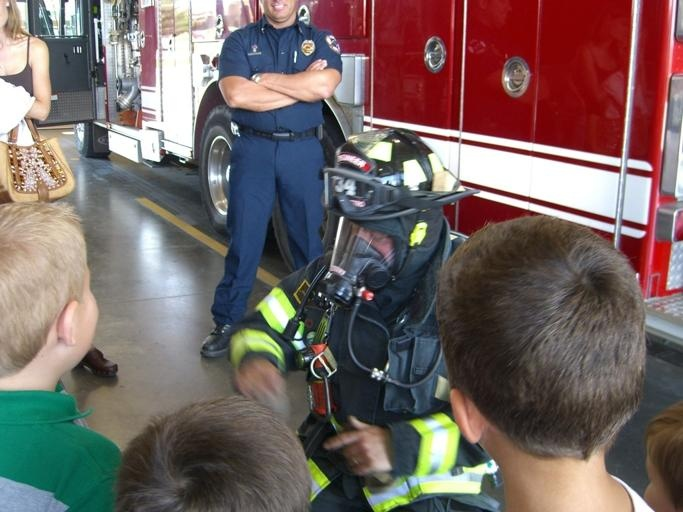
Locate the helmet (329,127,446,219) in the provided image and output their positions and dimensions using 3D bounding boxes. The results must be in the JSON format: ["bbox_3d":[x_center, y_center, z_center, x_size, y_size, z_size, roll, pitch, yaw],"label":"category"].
[{"bbox_3d":[0.165,-0.272,1.761,0.365,0.220,0.269,-1,9,-35],"label":"helmet"}]

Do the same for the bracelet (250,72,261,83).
[{"bbox_3d":[-0.588,-1.237,3.492,0.081,0.084,0.023,22,-11,30],"label":"bracelet"}]
